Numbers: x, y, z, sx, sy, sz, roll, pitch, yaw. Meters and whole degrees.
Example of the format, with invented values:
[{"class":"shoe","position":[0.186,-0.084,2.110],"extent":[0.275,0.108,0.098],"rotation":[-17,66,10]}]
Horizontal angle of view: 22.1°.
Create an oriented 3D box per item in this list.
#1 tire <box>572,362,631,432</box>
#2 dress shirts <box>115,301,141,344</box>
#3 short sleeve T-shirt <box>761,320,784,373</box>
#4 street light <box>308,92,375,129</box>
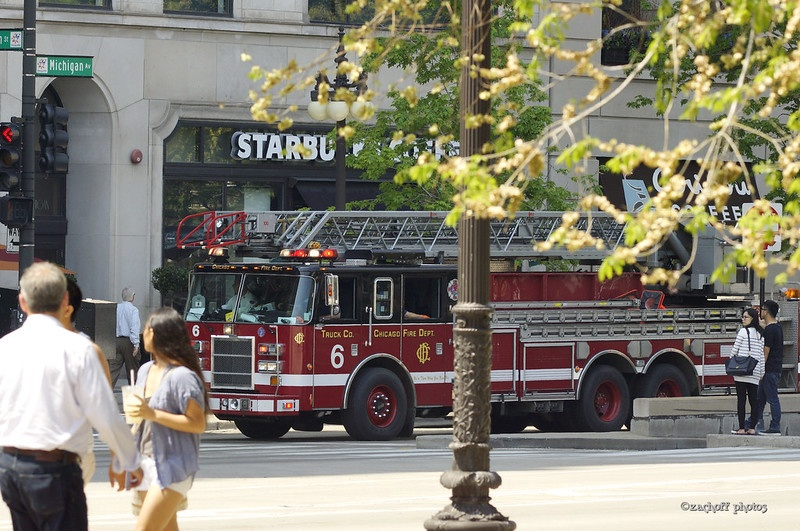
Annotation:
[{"class":"tire","position":[3.839,2.631,39.457],"extent":[1.152,1.179,0.378],"rotation":[-13,11,-38]},{"class":"dress shirts","position":[-5.480,1.219,40.835],"extent":[0.730,0.941,0.333],"rotation":[5,10,23]},{"class":"short sleeve T-shirt","position":[6.860,1.556,37.701],"extent":[0.461,1.223,0.917],"rotation":[-1,-7,22]},{"class":"street light","position":[-0.863,-3.048,38.696],"extent":[1.544,0.561,1.576],"rotation":[-1,1,11]}]
